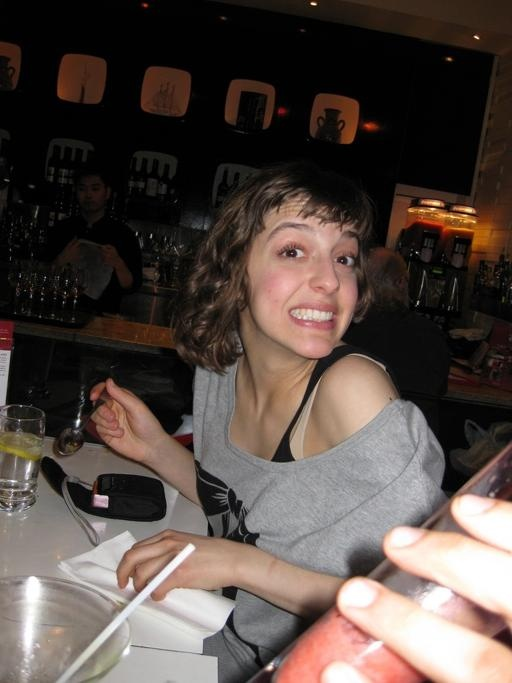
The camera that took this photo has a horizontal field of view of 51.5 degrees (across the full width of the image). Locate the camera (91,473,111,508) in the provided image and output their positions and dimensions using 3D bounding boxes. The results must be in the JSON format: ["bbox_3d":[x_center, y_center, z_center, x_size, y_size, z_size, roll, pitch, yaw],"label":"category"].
[{"bbox_3d":[-0.304,0.288,1.021,0.028,0.051,0.018,5,-36,-16],"label":"camera"}]
